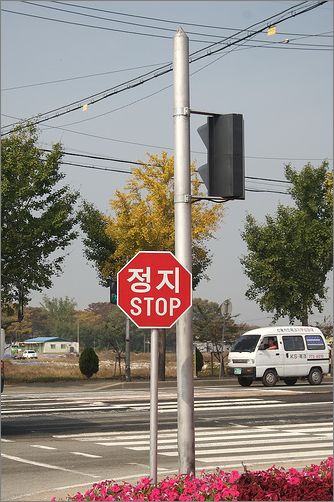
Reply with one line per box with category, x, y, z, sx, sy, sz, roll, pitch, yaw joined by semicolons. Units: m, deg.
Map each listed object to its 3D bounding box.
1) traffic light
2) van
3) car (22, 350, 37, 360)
traffic light;0.513;-0.911;9.233;0.420;0.849;0.505;-1;-8;1
van;3.665;3.371;31.315;3.470;2.006;1.037;6;-10;-37
car;-15.313;11.459;108.288;0.910;0.954;1.591;5;-13;-38
